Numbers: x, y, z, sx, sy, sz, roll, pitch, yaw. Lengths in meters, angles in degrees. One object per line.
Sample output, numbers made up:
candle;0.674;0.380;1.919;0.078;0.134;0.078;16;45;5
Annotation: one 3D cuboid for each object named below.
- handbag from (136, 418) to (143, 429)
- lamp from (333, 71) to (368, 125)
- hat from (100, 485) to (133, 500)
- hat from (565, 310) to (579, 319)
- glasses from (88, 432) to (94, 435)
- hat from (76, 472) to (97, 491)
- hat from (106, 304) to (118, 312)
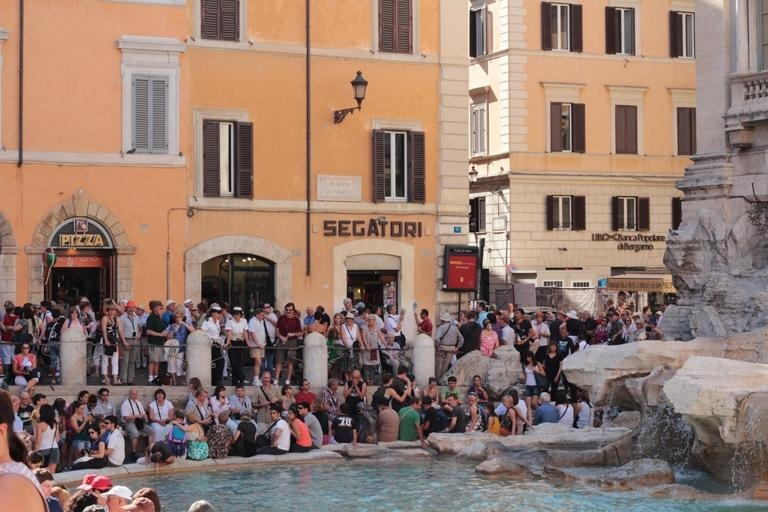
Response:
handbag;-6.014;4.110;42.381;0.237;0.329;0.205;1;-11;-5
lamp;-0.951;-4.740;50.239;1.058;1.536;1.372;-2;-5;-9
hat;-5.307;4.658;34.042;0.455;0.170;0.285;6;-4;4
hat;5.266;1.649;48.018;0.304;0.123;0.290;-4;11;-25
glasses;-7.004;4.216;41.161;0.074;0.049;0.091;-5;-13;12
hat;-5.929;4.507;34.412;0.346;0.299;0.948;-2;-5;-10
hat;-6.971;1.317;44.066;0.212;0.164;0.208;2;-8;-13
